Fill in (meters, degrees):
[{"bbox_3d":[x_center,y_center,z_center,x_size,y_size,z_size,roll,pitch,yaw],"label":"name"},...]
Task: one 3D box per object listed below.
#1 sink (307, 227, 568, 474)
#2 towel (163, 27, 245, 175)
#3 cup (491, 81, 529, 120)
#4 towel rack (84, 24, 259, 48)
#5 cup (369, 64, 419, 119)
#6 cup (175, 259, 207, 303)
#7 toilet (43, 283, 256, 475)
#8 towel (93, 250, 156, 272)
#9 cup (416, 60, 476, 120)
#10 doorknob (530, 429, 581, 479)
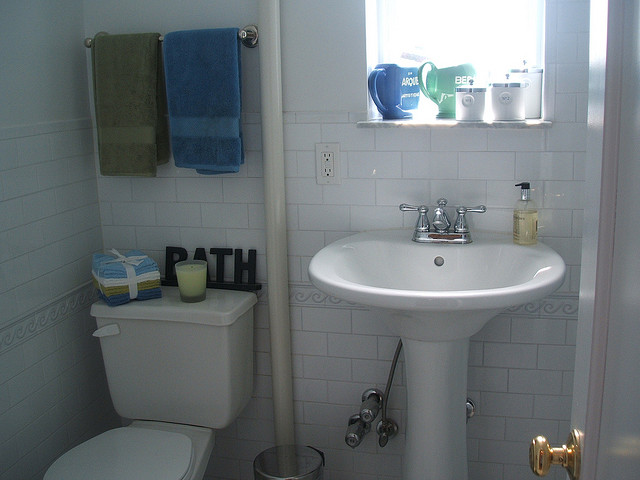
[{"bbox_3d":[0.376,0.494,1.817,0.770,0.971,0.630,1,14,9],"label":"sink"},{"bbox_3d":[-0.428,-0.506,1.970,0.285,0.501,0.073,3,14,18],"label":"towel"},{"bbox_3d":[0.639,-0.472,1.849,0.122,0.131,0.125,-3,13,1],"label":"cup"},{"bbox_3d":[-0.564,-0.750,2.010,0.688,0.080,0.091,1,14,11],"label":"towel rack"},{"bbox_3d":[0.257,-0.542,1.962,0.208,0.187,0.122,-15,19,-39],"label":"cup"},{"bbox_3d":[-0.480,0.159,2.103,0.130,0.158,0.136,-1,9,0],"label":"cup"},{"bbox_3d":[-0.565,0.470,2.103,0.516,0.566,0.794,2,12,12],"label":"toilet"},{"bbox_3d":[-0.764,0.082,2.074,0.124,0.047,0.127,-6,14,-30],"label":"towel"},{"bbox_3d":[0.449,-0.550,1.965,0.203,0.220,0.131,-1,3,4],"label":"cup"},{"bbox_3d":[0.397,0.362,0.901,0.080,0.085,0.082,0,2,4],"label":"doorknob"}]
